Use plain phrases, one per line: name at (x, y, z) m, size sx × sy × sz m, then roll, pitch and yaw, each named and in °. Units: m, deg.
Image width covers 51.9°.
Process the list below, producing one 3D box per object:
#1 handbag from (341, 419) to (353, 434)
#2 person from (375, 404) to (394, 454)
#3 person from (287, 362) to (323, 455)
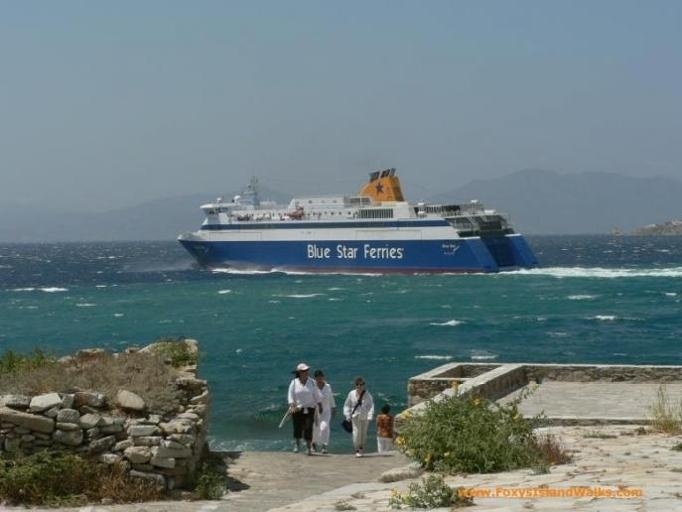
handbag at (0.116, 3.305, 14.049) m, size 0.211 × 0.278 × 0.301 m, roll -5°, pitch 5°, yaw -6°
person at (0.876, 3.347, 14.005) m, size 0.372 × 0.969 × 0.424 m, roll -5°, pitch 6°, yaw 2°
person at (-0.762, 2.986, 14.178) m, size 0.452 × 1.751 × 0.561 m, roll -1°, pitch 7°, yaw 38°
